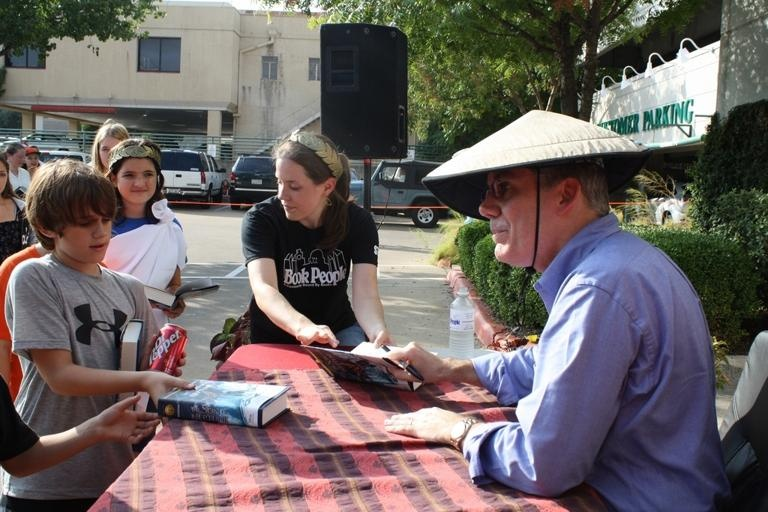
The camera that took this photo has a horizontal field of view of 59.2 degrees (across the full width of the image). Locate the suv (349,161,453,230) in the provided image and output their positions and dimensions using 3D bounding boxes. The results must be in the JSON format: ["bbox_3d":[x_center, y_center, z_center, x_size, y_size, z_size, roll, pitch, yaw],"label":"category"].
[{"bbox_3d":[0.550,-1.791,18.997,3.023,1.817,1.933,2,5,-1],"label":"suv"}]

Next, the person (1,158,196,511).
[{"bbox_3d":[-1.276,0.312,3.559,0.799,1.836,1.067,0,-3,-10],"label":"person"}]

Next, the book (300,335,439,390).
[{"bbox_3d":[-0.098,0.565,3.534,0.825,0.175,0.731,4,4,39],"label":"book"}]

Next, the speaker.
[{"bbox_3d":[-0.236,-1.865,7.808,0.808,1.647,0.987,1,10,8],"label":"speaker"}]

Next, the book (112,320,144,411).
[{"bbox_3d":[-1.209,0.528,3.283,0.181,0.430,0.163,-4,12,-17],"label":"book"}]

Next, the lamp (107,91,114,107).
[{"bbox_3d":[-11.947,-6.852,29.528,0.292,0.629,0.210,2,7,-21],"label":"lamp"}]

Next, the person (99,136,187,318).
[{"bbox_3d":[-1.671,0.057,4.590,0.703,1.657,0.478,2,-10,-30],"label":"person"}]

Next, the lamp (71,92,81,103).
[{"bbox_3d":[-13.405,-6.898,29.342,0.278,0.496,0.420,-5,8,-18],"label":"lamp"}]

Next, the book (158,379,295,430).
[{"bbox_3d":[-0.715,0.669,3.083,0.524,0.146,0.672,2,3,30],"label":"book"}]

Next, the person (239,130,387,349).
[{"bbox_3d":[-0.433,-0.121,4.216,0.886,1.326,0.766,3,7,-14],"label":"person"}]
